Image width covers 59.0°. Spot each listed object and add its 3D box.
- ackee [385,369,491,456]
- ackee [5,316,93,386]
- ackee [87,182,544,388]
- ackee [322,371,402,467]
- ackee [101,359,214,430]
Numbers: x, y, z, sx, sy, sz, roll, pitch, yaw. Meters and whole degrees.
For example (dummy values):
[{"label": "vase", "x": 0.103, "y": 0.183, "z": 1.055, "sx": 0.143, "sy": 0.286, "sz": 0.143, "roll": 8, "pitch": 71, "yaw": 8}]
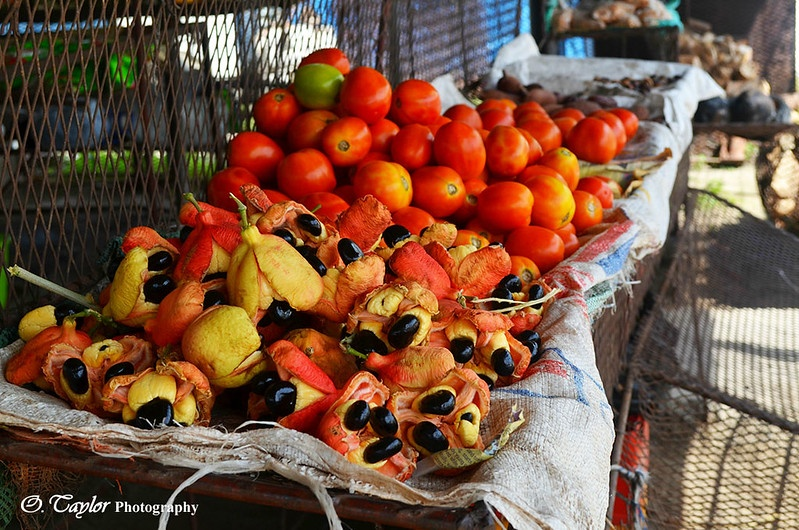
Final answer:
[{"label": "ackee", "x": 0.066, "y": 0.266, "z": 1.261, "sx": 0.162, "sy": 0.155, "sz": 0.067, "roll": -12, "pitch": 3, "yaw": -1}, {"label": "ackee", "x": -0.694, "y": 0.171, "z": 1.406, "sx": 0.122, "sy": 0.156, "sz": 0.077, "roll": 51, "pitch": 2, "yaw": 20}, {"label": "ackee", "x": -0.146, "y": 0.025, "z": 1.395, "sx": 0.705, "sy": 0.314, "sz": 0.463, "roll": 2, "pitch": 38, "yaw": -12}, {"label": "ackee", "x": -0.076, "y": 0.270, "z": 1.234, "sx": 0.127, "sy": 0.150, "sz": 0.077, "roll": 0, "pitch": 14, "yaw": -7}, {"label": "ackee", "x": -0.430, "y": 0.234, "z": 1.267, "sx": 0.147, "sy": 0.131, "sz": 0.084, "roll": 4, "pitch": -13, "yaw": 1}]
